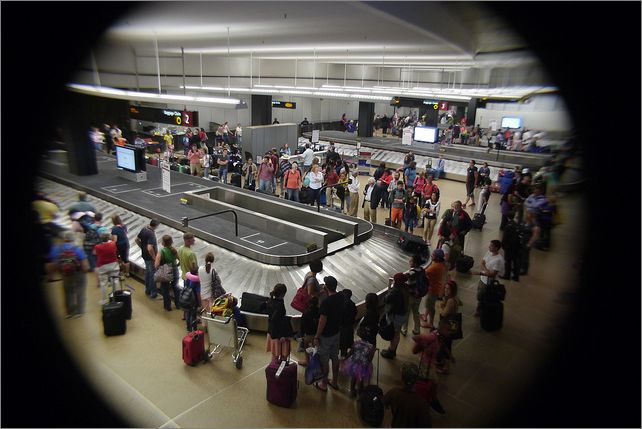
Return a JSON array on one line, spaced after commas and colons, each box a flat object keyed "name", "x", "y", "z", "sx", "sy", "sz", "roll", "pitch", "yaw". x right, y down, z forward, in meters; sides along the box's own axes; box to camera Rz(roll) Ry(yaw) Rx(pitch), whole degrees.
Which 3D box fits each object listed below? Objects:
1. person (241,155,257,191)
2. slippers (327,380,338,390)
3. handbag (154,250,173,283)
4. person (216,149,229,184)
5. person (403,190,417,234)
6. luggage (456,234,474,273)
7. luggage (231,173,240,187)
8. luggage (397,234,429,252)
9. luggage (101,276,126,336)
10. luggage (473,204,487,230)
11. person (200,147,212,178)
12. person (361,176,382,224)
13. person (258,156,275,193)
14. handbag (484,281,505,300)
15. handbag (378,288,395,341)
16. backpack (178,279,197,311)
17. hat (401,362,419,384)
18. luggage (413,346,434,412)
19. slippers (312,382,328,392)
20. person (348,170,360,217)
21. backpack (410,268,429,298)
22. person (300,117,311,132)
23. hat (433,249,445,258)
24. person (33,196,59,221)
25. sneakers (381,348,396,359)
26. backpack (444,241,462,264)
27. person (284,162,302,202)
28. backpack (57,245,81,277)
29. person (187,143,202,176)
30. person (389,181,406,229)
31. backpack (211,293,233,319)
[{"name": "person", "x": -2.613, "y": -1.477, "z": 14.104, "sx": 0.505, "sy": 1.217, "sz": 2.329, "roll": -2, "pitch": 13, "yaw": -11}, {"name": "slippers", "x": 0.171, "y": 2.567, "z": 5.836, "sx": 0.064, "sy": 0.077, "sz": 0.189, "roll": -7, "pitch": 25, "yaw": -29}, {"name": "handbag", "x": -2.883, "y": 0.945, "z": 6.979, "sx": 0.324, "sy": 0.574, "sz": 0.183, "roll": -5, "pitch": 13, "yaw": -24}, {"name": "person", "x": -3.824, "y": -1.890, "z": 14.827, "sx": 0.352, "sy": 1.352, "sz": 1.709, "roll": -3, "pitch": 13, "yaw": -15}, {"name": "person", "x": 2.446, "y": -0.104, "z": 10.425, "sx": 0.380, "sy": 1.282, "sz": 0.409, "roll": 2, "pitch": 12, "yaw": 6}, {"name": "luggage", "x": 3.410, "y": 0.943, "z": 9.106, "sx": 0.435, "sy": 0.841, "sz": 0.553, "roll": 15, "pitch": 33, "yaw": 35}, {"name": "luggage", "x": -3.209, "y": -1.281, "z": 14.247, "sx": 0.314, "sy": 0.450, "sz": 0.752, "roll": 0, "pitch": 12, "yaw": -3}, {"name": "luggage", "x": 2.199, "y": 0.687, "z": 9.238, "sx": 0.394, "sy": 0.276, "sz": 0.553, "roll": 16, "pitch": 12, "yaw": 8}, {"name": "luggage", "x": -3.604, "y": 1.817, "z": 6.643, "sx": 0.360, "sy": 0.579, "sz": 0.189, "roll": -4, "pitch": 13, "yaw": -22}, {"name": "luggage", "x": 4.815, "y": 0.102, "z": 11.665, "sx": 0.301, "sy": 0.687, "sz": 0.769, "roll": 6, "pitch": 13, "yaw": 24}, {"name": "person", "x": -4.461, "y": -2.012, "z": 14.799, "sx": 0.288, "sy": 1.128, "sz": 0.938, "roll": -3, "pitch": 13, "yaw": -16}, {"name": "person", "x": 1.445, "y": -0.421, "z": 10.895, "sx": 0.470, "sy": 1.364, "sz": 1.246, "roll": 2, "pitch": 12, "yaw": 6}, {"name": "person", "x": -1.964, "y": -1.461, "z": 13.695, "sx": 0.515, "sy": 1.348, "sz": 1.098, "roll": -1, "pitch": 12, "yaw": -10}, {"name": "handbag", "x": 3.182, "y": 1.400, "z": 7.057, "sx": 0.332, "sy": 0.335, "sz": 0.165, "roll": 2, "pitch": 20, "yaw": 7}, {"name": "handbag", "x": 1.057, "y": 1.690, "z": 6.105, "sx": 0.255, "sy": 0.930, "sz": 0.421, "roll": 3, "pitch": 12, "yaw": 11}, {"name": "backpack", "x": -2.223, "y": 1.392, "z": 6.372, "sx": 0.277, "sy": 0.394, "sz": 0.176, "roll": -5, "pitch": 13, "yaw": -25}, {"name": "hat", "x": 1.080, "y": 1.936, "z": 4.660, "sx": 0.175, "sy": 0.240, "sz": 0.222, "roll": 5, "pitch": 13, "yaw": 20}, {"name": "luggage", "x": 1.473, "y": 2.347, "z": 5.534, "sx": 0.341, "sy": 0.779, "sz": 0.619, "roll": 4, "pitch": 12, "yaw": 14}, {"name": "slippers", "x": -0.014, "y": 2.583, "z": 5.790, "sx": 0.215, "sy": 0.089, "sz": 0.101, "roll": 22, "pitch": 29, "yaw": 35}, {"name": "person", "x": 0.970, "y": -0.614, "z": 11.576, "sx": 0.470, "sy": 1.686, "sz": 0.512, "roll": -3, "pitch": 44, "yaw": 2}, {"name": "backpack", "x": 1.656, "y": 1.182, "z": 6.525, "sx": 0.458, "sy": 0.534, "sz": 0.159, "roll": -6, "pitch": 14, "yaw": -31}, {"name": "person", "x": -1.194, "y": -6.297, "z": 27.122, "sx": 0.559, "sy": 1.016, "sz": 1.722, "roll": 1, "pitch": 12, "yaw": -1}, {"name": "hat", "x": 2.085, "y": 0.659, "z": 6.786, "sx": 0.172, "sy": 0.107, "sz": 0.298, "roll": 5, "pitch": 13, "yaw": 16}, {"name": "person", "x": -5.570, "y": -0.109, "z": 7.800, "sx": 0.283, "sy": 0.511, "sz": 1.190, "roll": -7, "pitch": 14, "yaw": -31}, {"name": "sneakers", "x": 1.124, "y": 2.306, "z": 6.411, "sx": 0.204, "sy": 0.091, "sz": 0.144, "roll": 6, "pitch": 15, "yaw": 13}, {"name": "backpack", "x": 2.799, "y": 0.808, "z": 8.154, "sx": 0.286, "sy": 0.482, "sz": 0.516, "roll": 8, "pitch": 14, "yaw": 30}, {"name": "person", "x": -0.888, "y": -1.030, "z": 11.978, "sx": 0.428, "sy": 1.248, "sz": 0.762, "roll": -4, "pitch": 13, "yaw": -20}, {"name": "backpack", "x": -4.412, "y": 0.842, "z": 6.773, "sx": 0.340, "sy": 0.491, "sz": 0.443, "roll": -4, "pitch": 5, "yaw": -40}, {"name": "person", "x": -4.826, "y": -2.086, "z": 14.684, "sx": 0.397, "sy": 1.182, "sz": 0.526, "roll": -6, "pitch": 14, "yaw": -30}, {"name": "person", "x": 2.098, "y": -0.249, "z": 10.469, "sx": 0.400, "sy": 1.398, "sz": 0.592, "roll": 0, "pitch": 12, "yaw": -4}, {"name": "backpack", "x": -1.620, "y": 1.404, "z": 6.217, "sx": 0.278, "sy": 0.397, "sz": 0.541, "roll": -10, "pitch": 3, "yaw": -15}]
